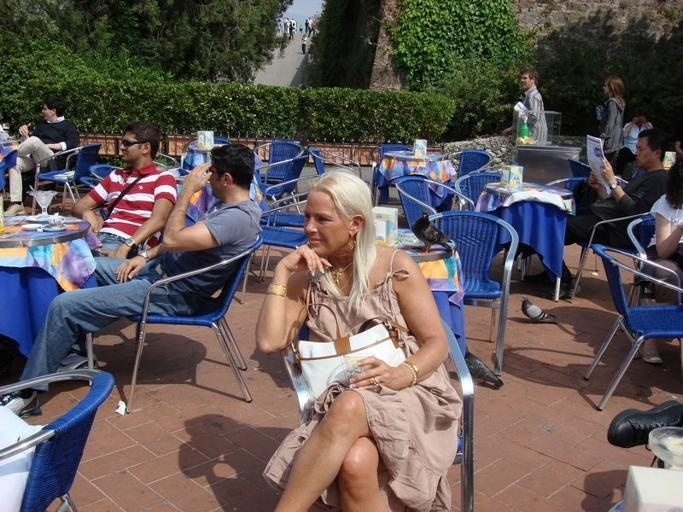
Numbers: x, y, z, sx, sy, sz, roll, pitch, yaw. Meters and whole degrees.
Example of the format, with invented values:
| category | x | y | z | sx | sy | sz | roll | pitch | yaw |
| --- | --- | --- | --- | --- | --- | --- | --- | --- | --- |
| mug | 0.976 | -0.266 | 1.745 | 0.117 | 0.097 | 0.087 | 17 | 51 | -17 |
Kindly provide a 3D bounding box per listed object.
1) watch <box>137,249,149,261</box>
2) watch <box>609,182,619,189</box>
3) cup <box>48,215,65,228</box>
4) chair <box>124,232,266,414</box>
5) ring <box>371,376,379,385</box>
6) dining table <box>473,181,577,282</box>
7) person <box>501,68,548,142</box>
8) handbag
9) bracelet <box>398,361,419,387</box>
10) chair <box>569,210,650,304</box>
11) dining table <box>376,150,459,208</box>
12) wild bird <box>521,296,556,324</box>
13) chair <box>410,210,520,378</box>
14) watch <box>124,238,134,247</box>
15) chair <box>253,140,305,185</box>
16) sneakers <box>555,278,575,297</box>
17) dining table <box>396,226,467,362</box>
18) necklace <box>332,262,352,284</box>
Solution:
| category | x | y | z | sx | sy | sz | roll | pitch | yaw |
| --- | --- | --- | --- | --- | --- | --- | --- | --- | --- |
| watch | -1.464 | -0.011 | 4.028 | 0.060 | 0.082 | 0.035 | 3 | -24 | -13 |
| watch | 2.884 | -0.742 | 5.793 | 0.095 | 0.052 | 0.077 | -3 | 4 | 24 |
| cup | -2.028 | -0.244 | 3.876 | 0.132 | 0.102 | 0.107 | -1 | -4 | -3 |
| chair | -1.097 | 0.473 | 3.923 | 0.857 | 0.992 | 0.758 | 2 | -3 | -11 |
| ring | 0.144 | 0.517 | 2.299 | 0.031 | 0.029 | 0.009 | 2 | 10 | 4 |
| dining table | 2.044 | -0.153 | 6.119 | 1.019 | 0.757 | 0.985 | 0 | 16 | 39 |
| person | 4.053 | -3.171 | 11.967 | 0.805 | 1.562 | 2.916 | 4 | 9 | 15 |
| handbag | 0.040 | 0.431 | 2.507 | 0.480 | 0.444 | 0.217 | -15 | 4 | 12 |
| bracelet | 0.299 | 0.505 | 2.383 | 0.065 | 0.096 | 0.052 | 10 | 13 | 41 |
| chair | 2.777 | -0.071 | 5.540 | 0.621 | 0.765 | 0.626 | 6 | -10 | 42 |
| dining table | 1.218 | -1.247 | 8.844 | 1.012 | 0.439 | 0.956 | -5 | 13 | -33 |
| wild bird | 1.949 | 0.510 | 5.333 | 0.456 | 0.232 | 0.260 | -5 | 12 | -38 |
| chair | 0.955 | 0.303 | 4.473 | 0.909 | 1.093 | 0.801 | -2 | 20 | 18 |
| watch | -1.689 | -0.108 | 4.347 | 0.049 | 0.048 | 0.031 | -34 | 22 | 52 |
| chair | -1.137 | -1.412 | 9.821 | 0.937 | 1.080 | 0.868 | 2 | -1 | 1 |
| sneakers | 2.423 | 0.348 | 5.992 | 0.142 | 0.177 | 0.431 | -5 | 1 | 32 |
| dining table | 0.523 | 0.273 | 3.644 | 0.575 | 0.638 | 0.530 | -5 | -3 | 34 |
| necklace | 0.001 | 0.076 | 2.594 | 0.075 | 0.099 | 0.035 | 1 | 5 | 7 |
